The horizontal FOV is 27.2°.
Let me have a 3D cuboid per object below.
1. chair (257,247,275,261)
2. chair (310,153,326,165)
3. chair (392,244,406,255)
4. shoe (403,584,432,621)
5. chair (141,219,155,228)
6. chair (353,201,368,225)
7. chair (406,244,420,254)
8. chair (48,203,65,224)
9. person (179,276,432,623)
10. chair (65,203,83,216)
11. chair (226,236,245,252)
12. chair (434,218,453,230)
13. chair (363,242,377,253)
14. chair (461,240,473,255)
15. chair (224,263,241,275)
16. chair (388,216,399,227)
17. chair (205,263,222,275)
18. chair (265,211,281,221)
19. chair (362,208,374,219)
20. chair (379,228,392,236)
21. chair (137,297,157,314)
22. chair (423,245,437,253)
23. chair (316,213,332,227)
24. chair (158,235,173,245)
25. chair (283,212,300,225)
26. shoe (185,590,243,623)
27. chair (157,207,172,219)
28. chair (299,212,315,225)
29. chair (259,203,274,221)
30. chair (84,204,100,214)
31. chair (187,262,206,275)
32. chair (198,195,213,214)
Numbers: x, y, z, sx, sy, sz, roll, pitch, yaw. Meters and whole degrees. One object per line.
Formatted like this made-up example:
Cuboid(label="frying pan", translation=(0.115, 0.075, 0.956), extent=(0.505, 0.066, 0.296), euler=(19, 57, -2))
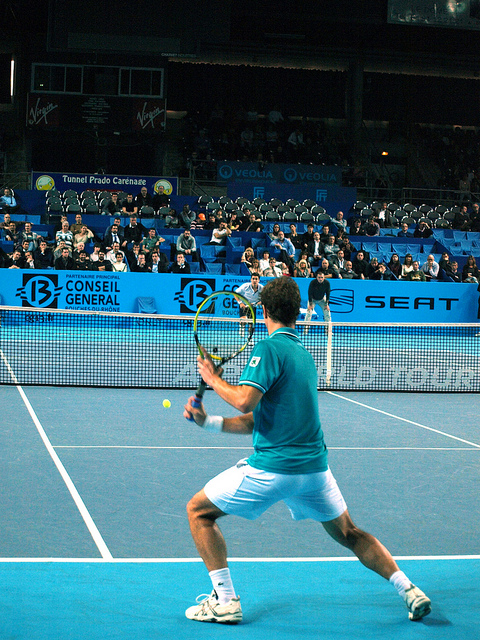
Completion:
Cuboid(label="chair", translation=(0.569, -1.509, 22.407), extent=(0.355, 0.418, 0.352), euler=(2, 11, -1))
Cuboid(label="chair", translation=(2.494, -5.164, 31.973), extent=(0.373, 0.363, 0.608), euler=(3, 5, 16))
Cuboid(label="chair", translation=(3.915, -1.717, 24.385), extent=(0.326, 0.243, 0.371), euler=(2, 5, 8))
Cuboid(label="shoe", translation=(0.872, 1.388, 4.885), extent=(0.081, 0.098, 0.218), euler=(-30, -34, -16))
Cuboid(label="chair", translation=(-2.193, -2.306, 23.958), extent=(0.378, 0.197, 0.201), euler=(3, 5, 20))
Cuboid(label="chair", translation=(3.336, -2.970, 27.452), extent=(0.525, 0.720, 0.270), euler=(1, 4, -8))
Cuboid(label="chair", translation=(4.284, -1.740, 24.514), extent=(0.396, 0.274, 0.223), euler=(1, -10, -7))
Cuboid(label="chair", translation=(-4.546, -2.607, 24.577), extent=(0.379, 0.506, 0.579), euler=(0, 5, -17))
Cuboid(label="person", translation=(0.278, 0.633, 4.917), extent=(1.057, 1.661, 0.341), euler=(1, 5, -4))
Cuboid(label="chair", translation=(-4.081, -2.671, 24.320), extent=(0.351, 0.492, 0.380), euler=(2, -7, -10))
Cuboid(label="chair", translation=(-0.096, -1.708, 22.698), extent=(0.355, 0.468, 0.500), euler=(0, -1, 13))
Cuboid(label="chair", translation=(5.443, -2.549, 26.753), extent=(0.296, 0.146, 0.413), euler=(6, -16, 2))
Cuboid(label="chair", translation=(3.180, -1.748, 24.262), extent=(0.260, 0.187, 0.255), euler=(3, 8, -11))
Cuboid(label="chair", translation=(5.861, -1.866, 25.557), extent=(0.368, 0.487, 0.379), euler=(1, -11, 3))
Cuboid(label="chair", translation=(-0.165, -1.124, 22.076), extent=(0.328, 0.212, 0.274), euler=(0, 5, -12))
Cuboid(label="chair", translation=(4.124, -2.614, 26.567), extent=(0.239, 0.241, 0.464), euler=(3, 5, 16))
Cuboid(label="chair", translation=(-0.571, -1.127, 21.969), extent=(0.351, 0.204, 0.339), euler=(1, 5, -2))
Cuboid(label="chair", translation=(0.845, -2.617, 25.244), extent=(0.455, 0.241, 0.317), euler=(0, 5, -20))
Cuboid(label="chair", translation=(3.405, -2.820, 26.573), extent=(0.311, 0.361, 0.306), euler=(1, -20, 0))
Cuboid(label="chair", translation=(3.748, -2.241, 25.537), extent=(0.286, 0.190, 0.201), euler=(-1, -12, 3))
Cuboid(label="chair", translation=(-1.880, -0.294, 19.947), extent=(0.316, 0.401, 0.323), euler=(0, 0, -21))
Cuboid(label="chair", translation=(4.725, -1.745, 24.697), extent=(0.243, 0.151, 0.230), euler=(-1, 6, -2))
Cuboid(label="chair", translation=(2.175, -2.585, 25.755), extent=(0.378, 0.338, 0.998), euler=(2, 5, 4))
Cuboid(label="chair", translation=(-1.709, -1.893, 23.053), extent=(0.394, 0.368, 0.205), euler=(1, -4, -8))
Cuboid(label="chair", translation=(1.329, -2.612, 25.522), extent=(0.312, 0.404, 0.317), euler=(2, -14, -7))
Cuboid(label="shoe", translation=(-0.157, 1.404, 4.906), extent=(0.325, 0.149, 0.120), euler=(-6, -16, 36))
Cuboid(label="chair", translation=(-1.897, -2.612, 24.624), extent=(0.301, 0.385, 0.298), euler=(0, -7, -5))
Cuboid(label="chair", translation=(1.745, -2.609, 25.707), extent=(0.297, 0.377, 0.354), euler=(2, -17, -3))
Cuboid(label="chair", translation=(0.696, -2.821, 26.043), extent=(0.407, 0.368, 0.405), euler=(3, 5, 12))
Cuboid(label="chair", translation=(-3.653, -2.725, 24.449), extent=(0.255, 0.234, 0.261), euler=(12, 13, 39))
Cuboid(label="chair", translation=(-0.943, -1.128, 21.620), extent=(0.318, 0.214, 0.181), euler=(-1, 6, -24))
Cuboid(label="chair", translation=(-0.918, -2.971, 25.644), extent=(0.398, 0.499, 0.373), euler=(4, 5, -1))
